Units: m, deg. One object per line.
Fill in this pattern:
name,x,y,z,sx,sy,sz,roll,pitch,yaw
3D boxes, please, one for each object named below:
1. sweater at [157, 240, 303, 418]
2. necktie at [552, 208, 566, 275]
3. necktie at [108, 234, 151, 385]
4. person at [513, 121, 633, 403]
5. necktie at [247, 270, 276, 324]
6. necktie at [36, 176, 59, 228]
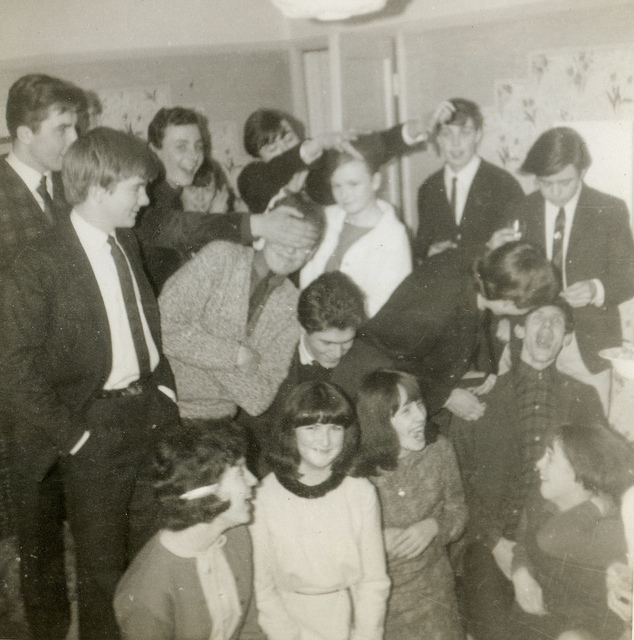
sweater,-0.206,0.006,2.250,0.415,0.459,0.165,22,14,22
necktie,0.605,-0.201,2.036,0.040,0.158,0.017,-18,21,-23
necktie,-0.512,-0.028,2.205,0.042,0.410,0.071,-13,20,-12
person,0.652,-0.136,2.048,0.268,0.708,0.087,-2,20,17
necktie,-0.157,-0.071,2.138,0.033,0.186,0.033,22,22,-13
necktie,-0.731,-0.315,2.185,0.036,0.118,0.086,-16,14,-31
